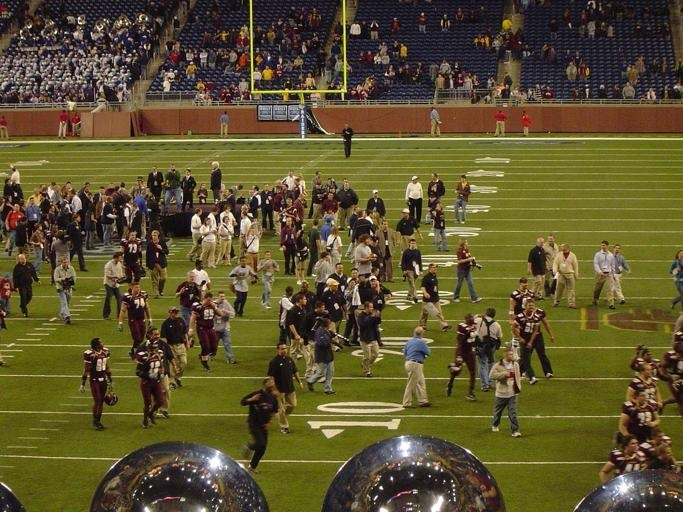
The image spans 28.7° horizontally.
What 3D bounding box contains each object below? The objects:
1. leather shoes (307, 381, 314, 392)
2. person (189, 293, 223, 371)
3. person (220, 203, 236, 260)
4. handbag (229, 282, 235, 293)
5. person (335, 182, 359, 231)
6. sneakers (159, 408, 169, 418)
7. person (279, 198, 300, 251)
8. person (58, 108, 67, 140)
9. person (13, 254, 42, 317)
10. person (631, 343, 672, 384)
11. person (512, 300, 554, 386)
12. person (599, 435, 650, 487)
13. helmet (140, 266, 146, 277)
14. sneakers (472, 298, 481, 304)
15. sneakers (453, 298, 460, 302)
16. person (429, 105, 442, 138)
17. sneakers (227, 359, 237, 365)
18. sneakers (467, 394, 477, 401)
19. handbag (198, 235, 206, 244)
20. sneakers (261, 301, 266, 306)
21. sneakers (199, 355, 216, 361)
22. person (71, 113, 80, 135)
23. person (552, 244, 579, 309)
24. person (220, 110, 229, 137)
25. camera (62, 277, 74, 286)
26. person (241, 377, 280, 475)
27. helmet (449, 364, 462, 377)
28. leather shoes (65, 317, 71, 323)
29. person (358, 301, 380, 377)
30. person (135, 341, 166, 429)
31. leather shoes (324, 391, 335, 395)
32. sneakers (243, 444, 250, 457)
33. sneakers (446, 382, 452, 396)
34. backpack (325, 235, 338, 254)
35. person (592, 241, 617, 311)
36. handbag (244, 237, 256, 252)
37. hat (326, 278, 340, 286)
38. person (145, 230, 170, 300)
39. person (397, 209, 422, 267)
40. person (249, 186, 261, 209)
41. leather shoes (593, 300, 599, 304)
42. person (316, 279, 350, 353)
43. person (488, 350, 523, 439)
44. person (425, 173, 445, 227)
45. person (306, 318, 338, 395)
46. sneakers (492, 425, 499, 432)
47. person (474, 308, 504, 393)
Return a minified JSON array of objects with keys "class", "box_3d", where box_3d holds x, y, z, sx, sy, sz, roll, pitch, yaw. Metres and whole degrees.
[{"class":"leather shoes","box_3d":[-0.768,3.247,33.121,0.165,0.232,0.073,-24,-1,0]},{"class":"person","box_3d":[-3.549,1.923,34.595,0.812,2.010,0.841,0,6,-7]},{"class":"person","box_3d":[-3.733,-0.684,43.087,0.564,1.919,1.110,0,7,-5]},{"class":"handbag","box_3d":[-3.098,0.873,36.908,0.159,0.223,0.220,3,-35,2]},{"class":"person","box_3d":[0.159,-1.701,45.919,0.759,1.696,0.532,-2,19,-5]},{"class":"sneakers","box_3d":[-4.367,3.787,32.003,0.383,0.267,0.128,-3,4,38]},{"class":"person","box_3d":[-1.825,-0.973,43.029,0.731,1.787,0.534,4,6,21]},{"class":"person","box_3d":[-14.502,-6.804,68.832,0.485,1.423,1.866,-1,7,-12]},{"class":"person","box_3d":[-9.211,0.840,38.402,0.616,1.797,0.848,1,6,-4]},{"class":"person","box_3d":[7.156,2.321,30.662,0.576,0.310,0.911,2,21,-37]},{"class":"person","box_3d":[4.833,2.134,33.281,0.754,2.149,1.220,6,8,36]},{"class":"person","box_3d":[5.957,4.232,27.675,1.048,1.010,0.394,7,9,42]},{"class":"helmet","box_3d":[-5.995,0.491,39.857,0.120,0.336,0.240,-2,13,-14]},{"class":"sneakers","box_3d":[3.986,1.293,38.814,0.297,0.130,0.108,-12,-17,-21]},{"class":"sneakers","box_3d":[3.389,1.295,39.117,0.198,0.088,0.087,3,13,29]},{"class":"person","box_3d":[4.686,-6.606,65.730,0.558,1.480,1.742,1,7,4]},{"class":"sneakers","box_3d":[-2.873,2.791,34.874,0.268,0.095,0.193,0,-11,-1]},{"class":"sneakers","box_3d":[3.241,3.465,32.720,0.232,0.136,0.158,1,7,3]},{"class":"handbag","box_3d":[-4.571,-0.504,42.892,0.185,0.269,0.064,13,0,5]},{"class":"sneakers","box_3d":[-2.279,1.395,38.945,0.089,0.123,0.039,-2,-9,-15]},{"class":"sneakers","box_3d":[-3.481,2.656,34.936,0.191,0.142,0.412,-19,1,-22]},{"class":"person","box_3d":[-13.832,-6.789,68.987,0.439,1.235,0.578,-1,7,-17]},{"class":"person","box_3d":[6.534,0.537,38.611,0.684,1.869,1.343,2,7,10]},{"class":"person","box_3d":[-5.993,-6.673,67.757,0.447,1.257,1.684,0,7,-5]},{"class":"camera","box_3d":[-7.750,0.726,37.520,0.231,0.198,0.234,2,-2,-22]},{"class":"person","box_3d":[-1.830,3.746,29.504,0.804,2.083,0.431,0,6,-5]},{"class":"helmet","box_3d":[2.813,2.809,32.638,0.267,0.258,0.219,12,1,-4]},{"class":"leather shoes","box_3d":[-7.804,1.840,37.803,0.076,0.230,0.148,0,11,-32]},{"class":"person","box_3d":[0.691,2.116,33.907,0.521,1.939,0.775,1,6,3]},{"class":"person","box_3d":[-4.555,3.026,31.445,0.614,1.958,0.318,0,6,-10]},{"class":"leather shoes","box_3d":[-0.298,3.388,33.119,0.277,0.123,0.101,-1,27,5]},{"class":"sneakers","box_3d":[-2.111,4.347,29.625,0.231,0.282,0.309,2,-2,-1]},{"class":"sneakers","box_3d":[2.682,3.299,32.886,0.101,0.310,0.204,11,-25,-6]},{"class":"backpack","box_3d":[-0.302,-0.361,39.046,0.485,0.466,0.310,3,3,-32]},{"class":"person","box_3d":[7.669,0.519,38.419,0.630,1.948,0.978,3,7,14]},{"class":"handbag","box_3d":[-2.745,-0.318,40.489,0.404,0.311,0.545,6,-11,-7]},{"class":"hat","box_3d":[-0.236,0.710,34.768,0.226,0.122,0.169,-11,14,-5]},{"class":"person","box_3d":[-5.523,0.252,39.610,0.583,2.033,1.287,0,7,-7]},{"class":"person","box_3d":[2.114,-0.623,41.152,0.811,1.763,0.406,-12,28,-8]},{"class":"person","box_3d":[-2.987,-1.930,44.969,0.365,0.818,0.576,0,7,-5]},{"class":"leather shoes","box_3d":[7.452,1.341,38.804,0.145,0.151,0.074,-2,31,8]},{"class":"person","box_3d":[-0.163,1.508,35.110,0.666,1.735,0.495,-15,21,-21]},{"class":"person","box_3d":[3.890,3.135,31.018,0.732,2.050,1.073,2,7,8]},{"class":"person","box_3d":[3.282,-1.923,46.161,0.671,1.863,0.628,1,20,8]},{"class":"person","box_3d":[-0.478,2.464,32.932,0.637,1.946,0.722,1,6,3]},{"class":"sneakers","box_3d":[3.616,4.031,31.057,0.162,0.160,0.081,-5,14,-23]},{"class":"person","box_3d":[3.618,2.276,32.853,0.657,1.989,0.735,4,4,42]}]
